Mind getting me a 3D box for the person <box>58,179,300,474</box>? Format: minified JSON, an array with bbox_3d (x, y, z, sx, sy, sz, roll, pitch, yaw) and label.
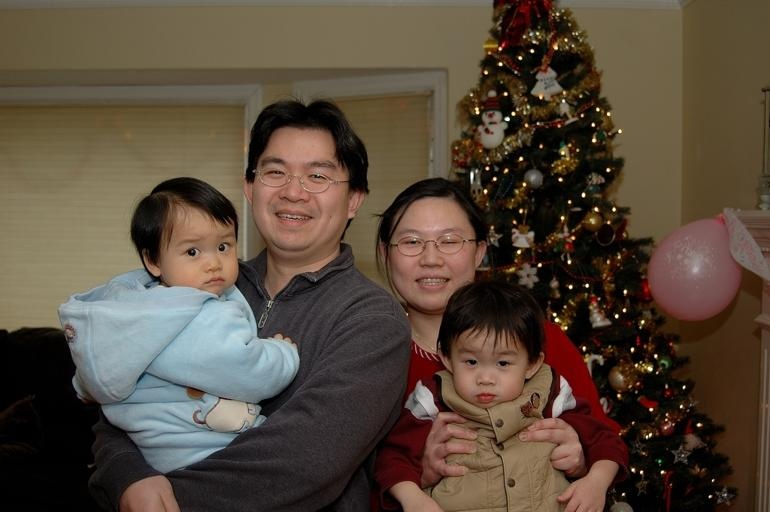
[{"bbox_3d":[-0.929,0.220,3.236,1.211,1.369,1.189,-5,8,-35],"label":"person"}]
